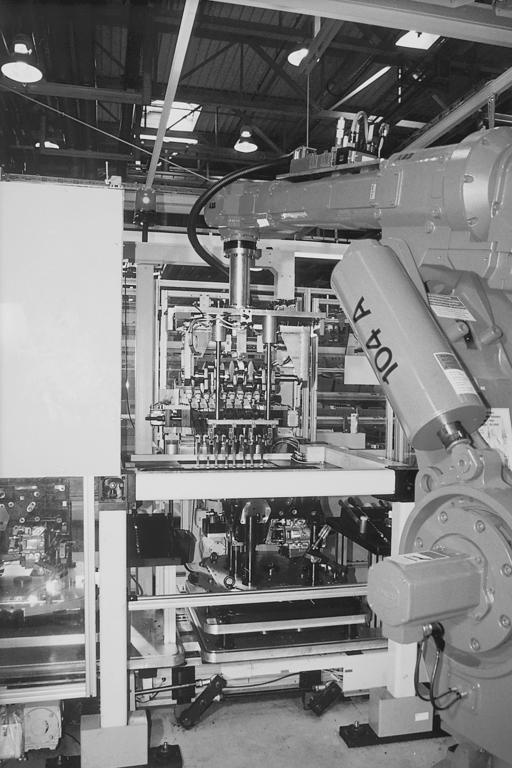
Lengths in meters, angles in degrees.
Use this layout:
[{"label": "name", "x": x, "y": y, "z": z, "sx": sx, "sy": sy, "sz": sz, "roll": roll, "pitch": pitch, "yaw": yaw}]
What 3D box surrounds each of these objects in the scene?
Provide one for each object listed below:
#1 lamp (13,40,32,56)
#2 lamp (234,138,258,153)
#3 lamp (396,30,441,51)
[{"label": "lamp", "x": -1.211, "y": -1.734, "z": 4.025, "sx": 0.058, "sy": 0.083, "sz": 0.092, "roll": -4, "pitch": -45, "yaw": 9}, {"label": "lamp", "x": -0.081, "y": -1.900, "z": 6.103, "sx": 0.156, "sy": 0.111, "sz": 0.243, "roll": -1, "pitch": 10, "yaw": 2}, {"label": "lamp", "x": 1.104, "y": -2.327, "z": 5.220, "sx": 0.260, "sy": 0.067, "sz": 0.230, "roll": -5, "pitch": 10, "yaw": -16}]
